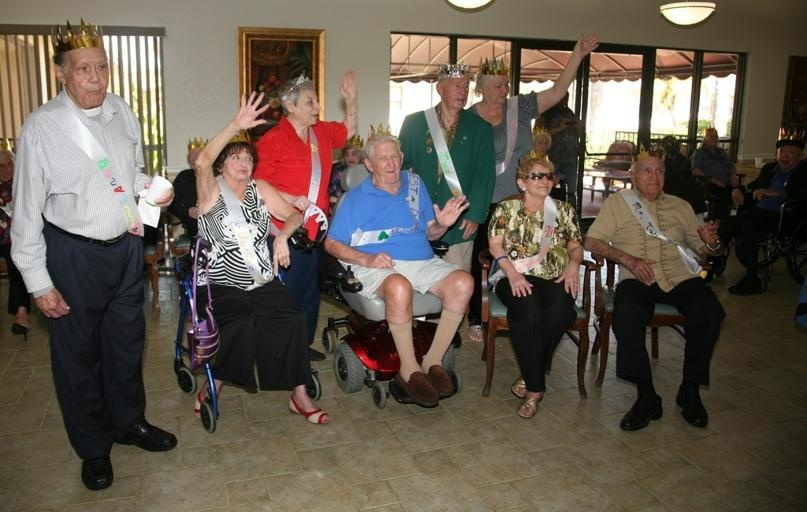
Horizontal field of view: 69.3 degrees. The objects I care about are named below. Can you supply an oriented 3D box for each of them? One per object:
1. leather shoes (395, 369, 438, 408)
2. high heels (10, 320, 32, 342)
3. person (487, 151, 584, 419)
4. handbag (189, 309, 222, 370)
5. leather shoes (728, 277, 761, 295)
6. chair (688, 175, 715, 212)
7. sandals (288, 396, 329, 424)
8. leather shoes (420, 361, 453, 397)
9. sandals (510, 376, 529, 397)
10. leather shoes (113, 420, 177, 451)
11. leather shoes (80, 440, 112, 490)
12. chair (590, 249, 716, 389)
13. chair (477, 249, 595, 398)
[{"bbox_3d":[0.097,0.908,4.035,0.151,0.222,0.371,-13,21,-39],"label":"leather shoes"},{"bbox_3d":[-3.396,0.661,5.153,0.110,0.191,0.068,-6,6,-11],"label":"high heels"},{"bbox_3d":[1.030,0.184,4.295,0.718,1.748,0.817,-2,17,-8],"label":"person"},{"bbox_3d":[-1.265,0.531,3.730,0.196,0.366,0.283,10,19,8],"label":"handbag"},{"bbox_3d":[3.758,0.335,6.419,0.357,0.166,0.166,-4,16,0],"label":"leather shoes"},{"bbox_3d":[3.839,-0.847,7.362,0.314,0.464,0.324,-8,15,46],"label":"chair"},{"bbox_3d":[-0.653,1.100,4.136,0.311,0.127,0.130,9,11,25],"label":"sandals"},{"bbox_3d":[0.233,0.858,4.058,0.128,0.105,0.261,-22,47,-14],"label":"leather shoes"},{"bbox_3d":[0.870,0.989,4.399,0.083,0.057,0.145,-17,46,20],"label":"sandals"},{"bbox_3d":[-1.620,1.168,3.811,0.453,0.200,0.169,2,13,-5],"label":"leather shoes"},{"bbox_3d":[-1.895,1.289,3.582,0.112,0.122,0.304,2,16,-37],"label":"leather shoes"},{"bbox_3d":[1.770,0.432,4.603,0.654,0.862,0.636,24,1,21],"label":"chair"},{"bbox_3d":[1.096,0.416,4.705,0.817,1.344,0.943,7,-10,-1],"label":"chair"}]
